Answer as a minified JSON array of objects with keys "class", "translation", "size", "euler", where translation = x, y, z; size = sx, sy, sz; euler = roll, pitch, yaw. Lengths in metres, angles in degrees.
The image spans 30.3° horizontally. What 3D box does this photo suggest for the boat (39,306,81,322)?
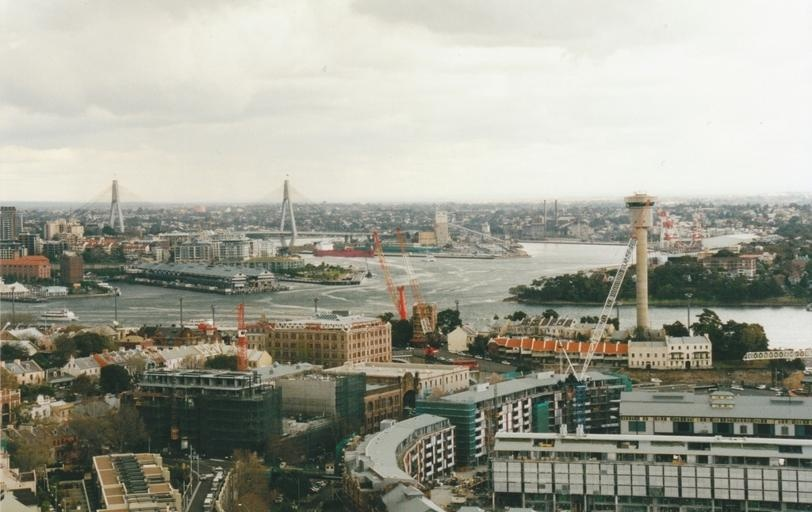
[{"class":"boat","translation":[-6.113,1.020,26.197],"size":[0.514,0.188,0.324],"euler":[1,1,9]}]
